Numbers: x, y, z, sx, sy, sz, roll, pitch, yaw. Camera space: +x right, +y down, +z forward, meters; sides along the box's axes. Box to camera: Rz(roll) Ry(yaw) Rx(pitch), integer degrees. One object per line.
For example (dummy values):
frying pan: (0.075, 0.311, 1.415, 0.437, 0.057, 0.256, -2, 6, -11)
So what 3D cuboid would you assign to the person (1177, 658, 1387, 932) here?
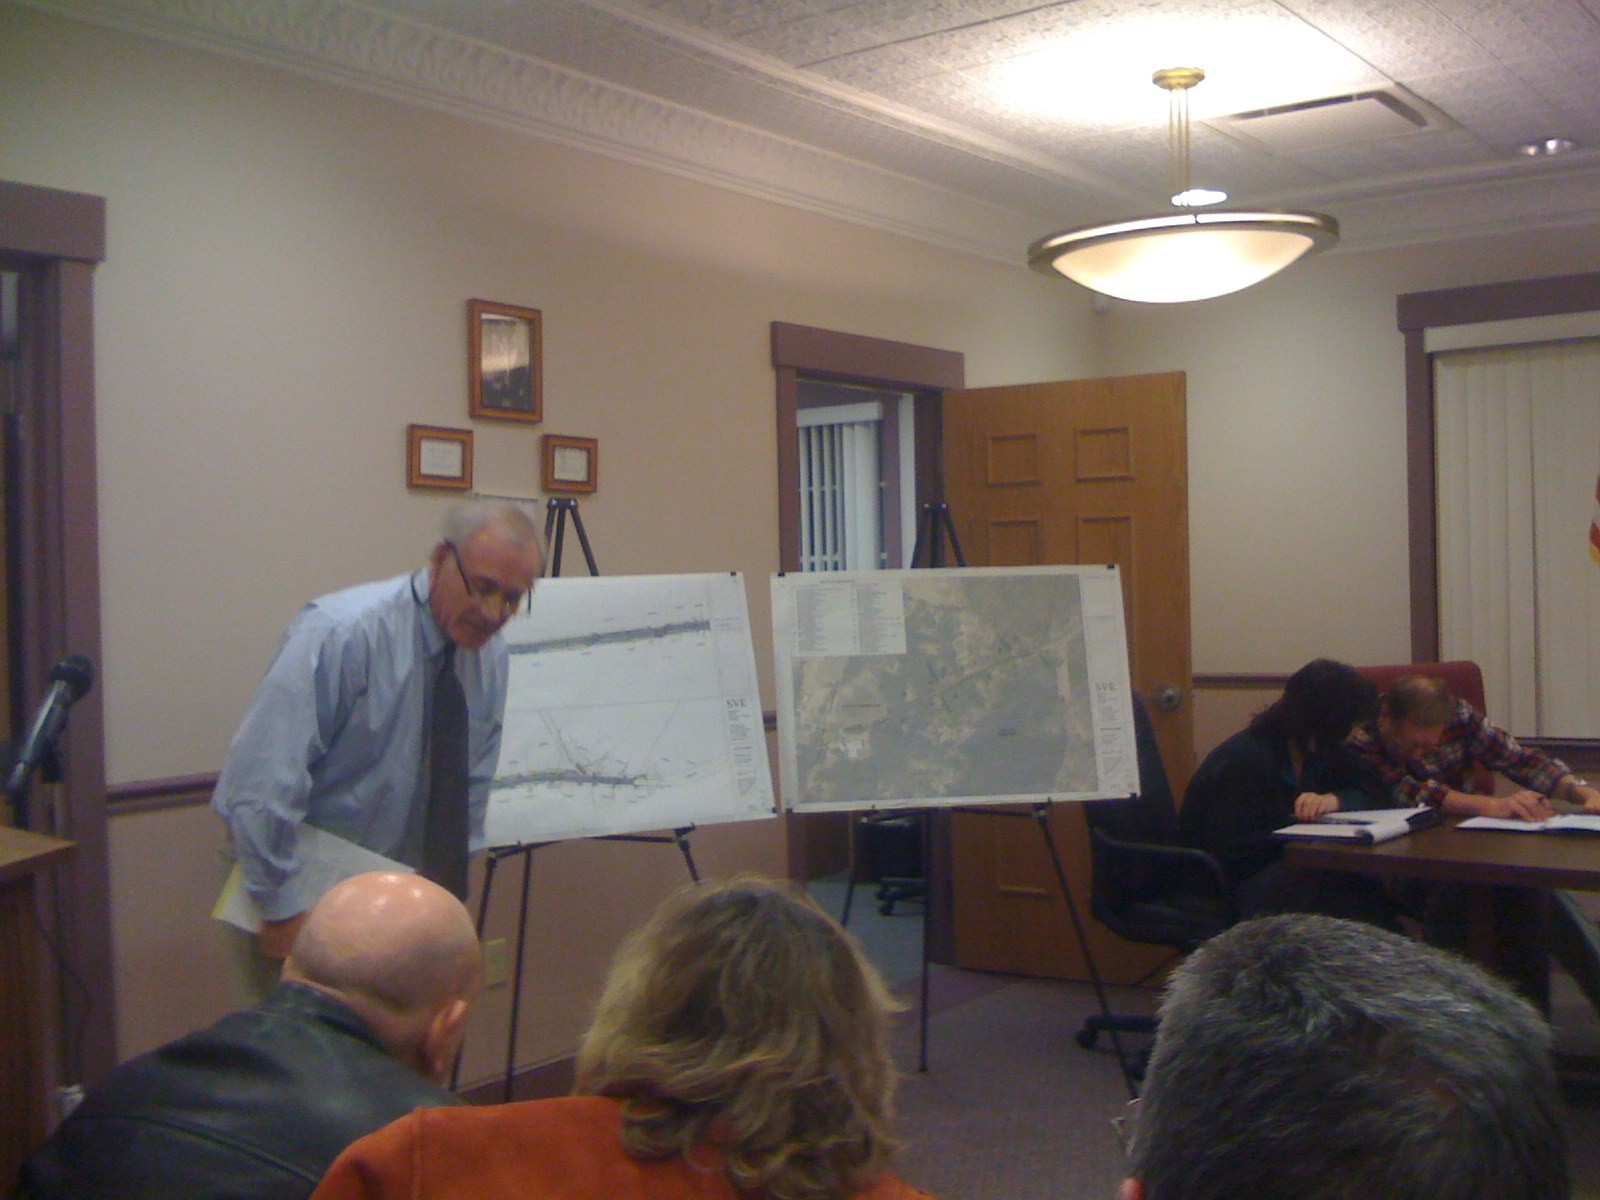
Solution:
person: (1.454, 0.657, 3.723, 0.640, 0.914, 0.590, -1, 10, 19)

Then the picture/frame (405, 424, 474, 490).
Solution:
picture/frame: (-1.005, -0.396, 3.558, 0.019, 0.166, 0.177, 1, 4, 43)

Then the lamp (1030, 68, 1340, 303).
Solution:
lamp: (1.155, -1.314, 4.182, 0.845, 0.649, 1.001, 0, 2, -4)

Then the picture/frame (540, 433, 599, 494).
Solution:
picture/frame: (-0.696, -0.408, 3.843, 0.023, 0.165, 0.182, -1, 0, 38)

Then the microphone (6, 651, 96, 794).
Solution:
microphone: (-1.614, 0.262, 2.786, 0.087, 0.312, 0.101, -12, -41, 27)
